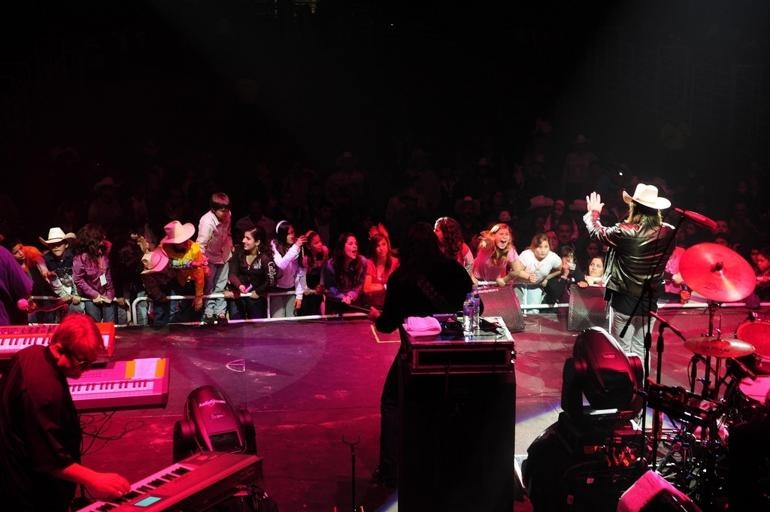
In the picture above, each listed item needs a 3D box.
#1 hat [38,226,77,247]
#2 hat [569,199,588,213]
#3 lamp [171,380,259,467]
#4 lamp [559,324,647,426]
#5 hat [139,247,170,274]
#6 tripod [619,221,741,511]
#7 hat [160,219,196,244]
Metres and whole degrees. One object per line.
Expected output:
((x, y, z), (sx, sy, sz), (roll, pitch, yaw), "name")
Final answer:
((-5.094, -0.285, 8.593), (0.378, 0.173, 0.418), (-18, 5, -25), "hat")
((3.567, -0.922, 10.179), (0.258, 0.257, 0.104), (-2, -32, 11), "hat")
((-1.424, 1.380, 4.631), (0.584, 0.801, 0.630), (-7, 26, -27), "lamp")
((1.958, 1.096, 4.955), (0.668, 0.714, 0.722), (-6, 11, -19), "lamp")
((-3.624, 0.081, 8.659), (0.249, 0.360, 0.345), (12, 18, 39), "hat")
((2.725, 1.013, 4.804), (0.781, 1.967, 1.932), (8, 17, 31), "tripod")
((-3.263, -0.360, 8.662), (0.438, 0.183, 0.370), (-26, 40, -32), "hat")
